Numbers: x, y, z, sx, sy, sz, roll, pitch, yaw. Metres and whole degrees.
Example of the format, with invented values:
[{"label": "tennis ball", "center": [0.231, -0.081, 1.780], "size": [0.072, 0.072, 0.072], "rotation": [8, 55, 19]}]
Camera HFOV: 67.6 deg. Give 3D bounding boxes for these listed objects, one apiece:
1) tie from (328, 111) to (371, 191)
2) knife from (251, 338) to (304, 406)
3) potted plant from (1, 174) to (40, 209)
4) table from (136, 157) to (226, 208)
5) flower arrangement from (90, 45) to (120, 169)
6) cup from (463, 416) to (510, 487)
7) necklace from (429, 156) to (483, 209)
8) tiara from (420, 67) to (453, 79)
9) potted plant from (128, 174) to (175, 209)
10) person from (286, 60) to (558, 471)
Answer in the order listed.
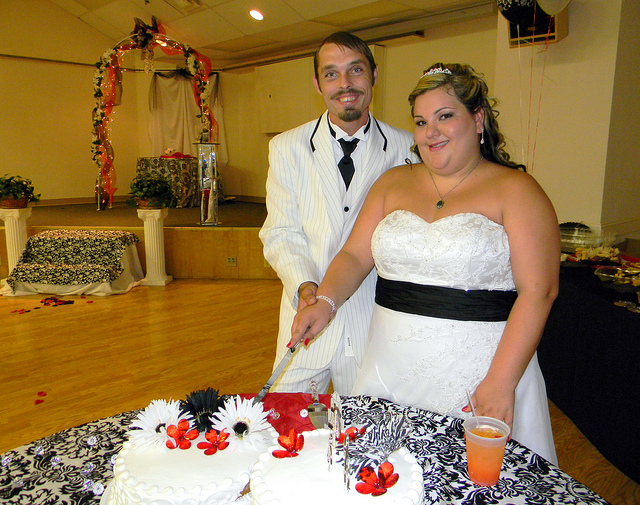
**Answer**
[{"label": "tie", "center": [0.115, -0.456, 2.126], "size": [0.159, 0.416, 0.031], "rotation": [8, 38, 10]}, {"label": "knife", "center": [-0.134, 0.387, 1.498], "size": [0.112, 0.198, 0.339], "rotation": [1, 11, 6]}, {"label": "potted plant", "center": [-4.104, -0.783, 6.322], "size": [0.543, 0.423, 0.570], "rotation": [2, -1, 9]}, {"label": "table", "center": [-3.034, -1.575, 10.231], "size": [1.429, 0.993, 1.491], "rotation": [-1, 10, 3]}, {"label": "flower arrangement", "center": [-3.709, -2.041, 8.205], "size": [0.456, 2.776, 0.401], "rotation": [0, 20, -21]}, {"label": "cup", "center": [0.405, 0.504, 1.196], "size": [0.111, 0.131, 0.109], "rotation": [4, 0, 0]}, {"label": "necklace", "center": [0.496, -0.263, 1.775], "size": [0.188, 0.190, 0.138], "rotation": [4, 12, 17]}, {"label": "tiara", "center": [0.420, -0.645, 1.696], "size": [0.054, 0.023, 0.072], "rotation": [-9, 12, -4]}, {"label": "potted plant", "center": [-2.373, -0.864, 6.568], "size": [0.607, 0.467, 0.602], "rotation": [-4, -2, -37]}, {"label": "person", "center": [0.476, 0.262, 1.933], "size": [0.828, 1.891, 0.764], "rotation": [2, 21, 19]}]
